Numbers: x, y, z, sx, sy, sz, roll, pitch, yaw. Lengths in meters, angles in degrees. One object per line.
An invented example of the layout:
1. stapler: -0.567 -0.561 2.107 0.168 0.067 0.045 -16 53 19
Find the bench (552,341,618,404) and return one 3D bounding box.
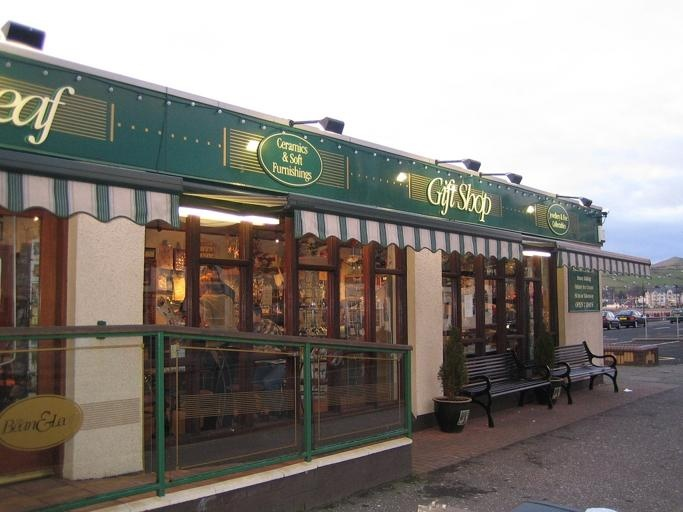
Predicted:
1. bench: 5.556 2.641 14.620 0.852 1.202 2.379 -5 -7 42

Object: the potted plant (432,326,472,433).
1. potted plant: 1.913 2.137 11.003 0.614 1.779 0.662 -5 -8 17

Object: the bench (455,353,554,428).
1. bench: 3.138 2.503 12.182 0.898 1.083 2.495 -4 -6 43

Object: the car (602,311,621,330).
1. car: 22.408 5.353 52.375 1.166 1.522 4.415 -6 -9 25

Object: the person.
1. person: -1.626 0.968 9.413 1.477 1.092 0.794 4 -4 -39
